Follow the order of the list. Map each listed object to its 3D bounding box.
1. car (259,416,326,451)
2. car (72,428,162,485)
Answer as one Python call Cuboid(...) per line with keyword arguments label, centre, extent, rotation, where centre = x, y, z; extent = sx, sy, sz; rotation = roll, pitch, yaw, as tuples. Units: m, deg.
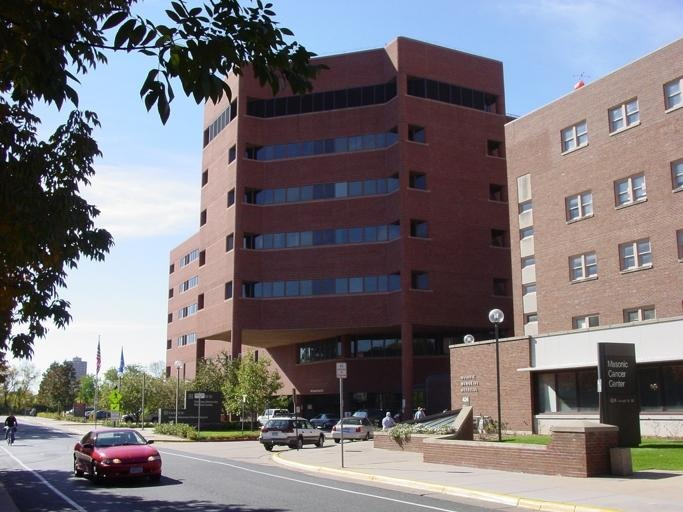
Cuboid(label="car", centre=(-2.377, 8.814, 36.173), extent=(1.538, 1.233, 3.370), rotation=(-5, -9, 27))
Cuboid(label="car", centre=(-6.980, 6.192, 22.379), extent=(1.756, 1.621, 3.308), rotation=(13, -20, -39))
